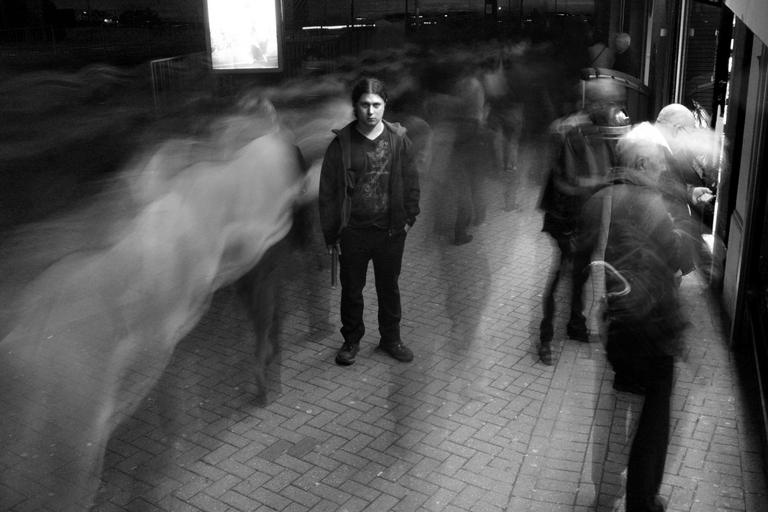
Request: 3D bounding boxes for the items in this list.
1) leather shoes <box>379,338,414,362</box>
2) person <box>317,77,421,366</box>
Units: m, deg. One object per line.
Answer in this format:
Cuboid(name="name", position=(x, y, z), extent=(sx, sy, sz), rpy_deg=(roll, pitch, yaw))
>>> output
Cuboid(name="leather shoes", position=(0.117, 0.866, 4.878), extent=(0.336, 0.130, 0.151), rpy_deg=(18, 38, 22))
Cuboid(name="person", position=(-0.123, -0.251, 4.645), extent=(1.016, 2.465, 0.841), rpy_deg=(-17, 30, -24))
